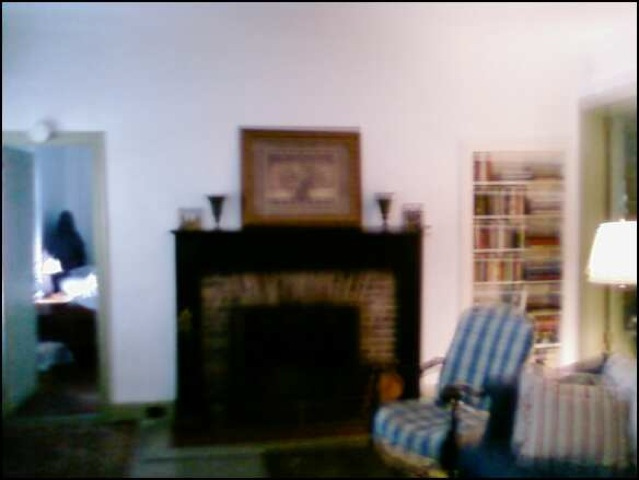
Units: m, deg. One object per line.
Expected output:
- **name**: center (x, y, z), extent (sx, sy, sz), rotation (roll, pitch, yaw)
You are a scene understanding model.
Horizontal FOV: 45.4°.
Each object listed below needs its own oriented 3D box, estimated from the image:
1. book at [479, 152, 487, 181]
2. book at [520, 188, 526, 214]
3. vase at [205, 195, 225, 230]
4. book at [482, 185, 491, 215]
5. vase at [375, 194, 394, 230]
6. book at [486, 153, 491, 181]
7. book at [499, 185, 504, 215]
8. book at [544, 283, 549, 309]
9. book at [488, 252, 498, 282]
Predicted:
- **book**: center (0.819, -0.368, 3.836), extent (0.042, 0.141, 0.009), rotation (-1, 0, -10)
- **book**: center (1.024, -0.197, 3.853), extent (0.026, 0.129, 0.007), rotation (-1, 0, -31)
- **vase**: center (-0.507, -0.130, 3.793), extent (0.108, 0.194, 0.102), rotation (-6, 14, -20)
- **book**: center (0.837, -0.199, 3.834), extent (0.042, 0.148, 0.007), rotation (-1, 0, -8)
- **vase**: center (0.325, -0.150, 3.832), extent (0.105, 0.179, 0.106), rotation (-5, 8, -40)
- **book**: center (0.848, -0.368, 3.841), extent (0.025, 0.135, 0.010), rotation (-1, 0, -20)
- **book**: center (0.913, -0.201, 3.838), extent (0.024, 0.150, 0.009), rotation (-1, 0, -12)
- **book**: center (1.150, 0.284, 3.884), extent (0.031, 0.131, 0.017), rotation (-1, 0, -24)
- **book**: center (0.876, 0.136, 3.862), extent (0.049, 0.150, 0.023), rotation (-1, 0, 2)
